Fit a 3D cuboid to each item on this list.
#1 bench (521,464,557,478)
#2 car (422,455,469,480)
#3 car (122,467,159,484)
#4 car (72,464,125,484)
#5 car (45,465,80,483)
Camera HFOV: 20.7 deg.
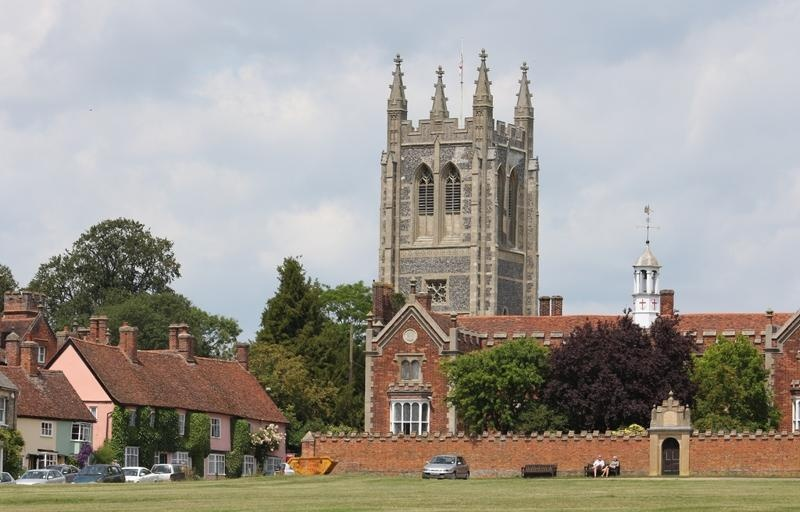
[{"bbox_3d":[9.485,14.583,148.574,2.350,0.939,1.375,-3,-12,1],"label":"bench"},{"bbox_3d":[3.140,14.079,145.672,2.346,1.771,3.597,-8,-13,25],"label":"car"},{"bbox_3d":[-17.285,14.598,145.706,2.252,1.366,5.022,-1,-12,-6],"label":"car"},{"bbox_3d":[-19.438,14.123,141.652,3.269,1.211,1.746,3,-13,-24],"label":"car"},{"bbox_3d":[-22.251,14.495,146.092,1.127,0.861,1.906,-5,-12,28],"label":"car"}]
